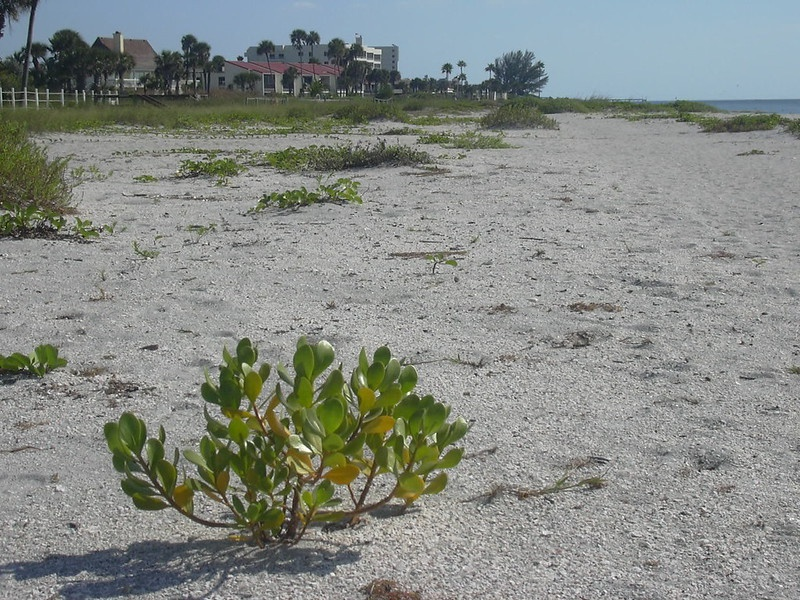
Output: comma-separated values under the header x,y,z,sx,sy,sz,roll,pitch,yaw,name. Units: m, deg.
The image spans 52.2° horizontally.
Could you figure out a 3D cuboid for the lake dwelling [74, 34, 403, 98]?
x,y,z,sx,sy,sz,roll,pitch,yaw,name
-15.558,-29.823,102.102,23.340,6.434,68.115,3,15,8,lake dwelling
